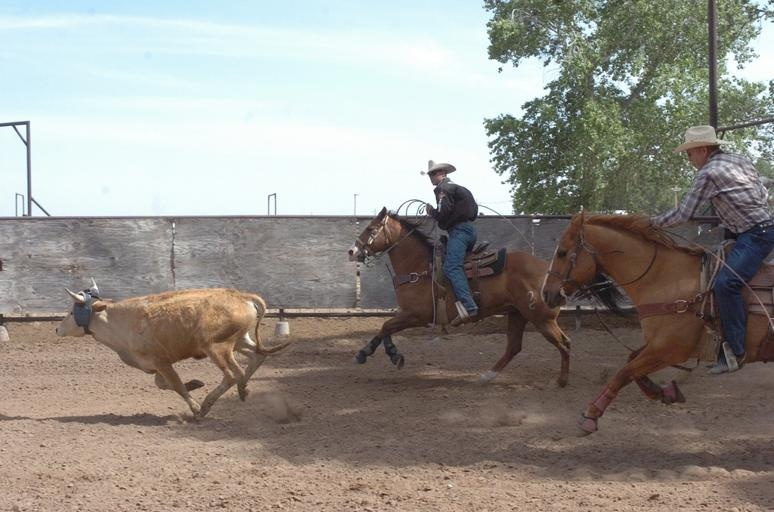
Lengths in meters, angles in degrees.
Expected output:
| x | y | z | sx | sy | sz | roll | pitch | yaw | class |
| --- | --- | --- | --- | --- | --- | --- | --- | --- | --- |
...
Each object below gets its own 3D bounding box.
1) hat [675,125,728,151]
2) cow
| x | y | z | sx | sy | sz | roll | pitch | yaw | class |
| --- | --- | --- | --- | --- | --- | --- | --- | --- | --- |
| 4.652 | -1.754 | 16.691 | 0.479 | 0.191 | 0.530 | -9 | 0 | -25 | hat |
| -3.407 | 1.496 | 17.678 | 3.821 | 1.816 | 1.003 | -1 | -4 | 13 | cow |
